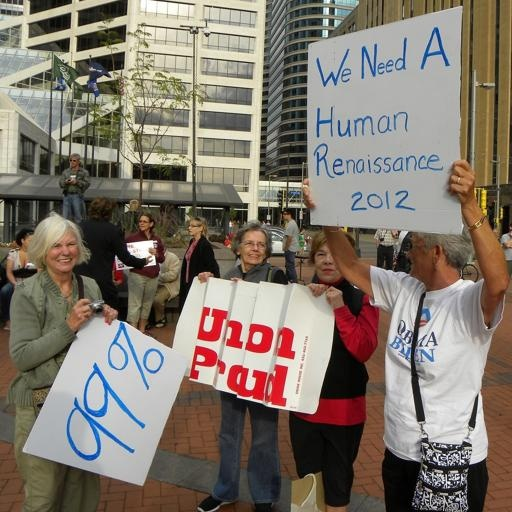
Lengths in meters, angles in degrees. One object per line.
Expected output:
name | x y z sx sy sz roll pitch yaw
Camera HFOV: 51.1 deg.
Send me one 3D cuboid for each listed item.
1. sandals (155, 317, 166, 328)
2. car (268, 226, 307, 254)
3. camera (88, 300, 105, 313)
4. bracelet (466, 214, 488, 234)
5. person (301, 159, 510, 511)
sandals | -1.616 1.115 8.966 0.156 0.109 0.425 1 1 -5
car | 1.293 -0.668 24.751 1.974 1.027 1.211 -3 9 -3
camera | -0.795 0.260 2.666 0.076 0.064 0.060 -3 7 -27
bracelet | 0.813 -0.119 1.986 0.061 0.017 0.063 -49 -6 24
person | 0.742 0.404 2.375 0.431 1.594 0.801 -1 6 -9
